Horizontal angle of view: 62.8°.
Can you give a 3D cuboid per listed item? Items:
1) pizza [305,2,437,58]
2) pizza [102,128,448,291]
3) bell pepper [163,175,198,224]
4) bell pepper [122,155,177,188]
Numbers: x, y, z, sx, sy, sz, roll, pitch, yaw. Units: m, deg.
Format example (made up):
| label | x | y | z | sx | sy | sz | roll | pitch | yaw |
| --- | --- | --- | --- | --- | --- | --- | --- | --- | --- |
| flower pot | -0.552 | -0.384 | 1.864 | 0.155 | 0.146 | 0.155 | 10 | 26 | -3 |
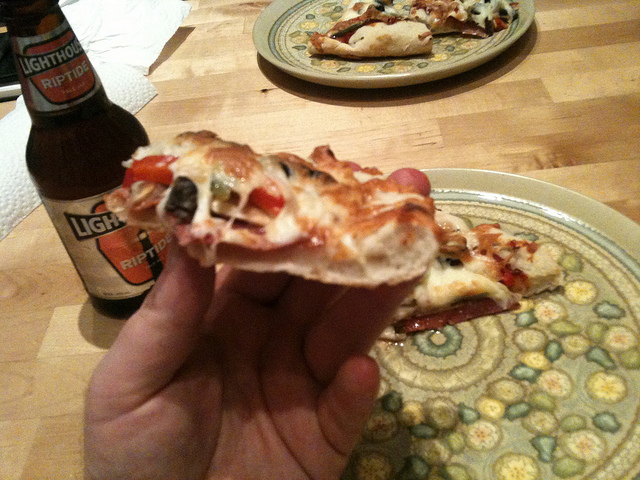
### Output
| label | x | y | z | sx | sy | sz | roll | pitch | yaw |
| --- | --- | --- | --- | --- | --- | --- | --- | --- | --- |
| pizza | 0.126 | -0.569 | 1.465 | 0.260 | 0.072 | 0.209 | -3 | 40 | -3 |
| pizza | -0.085 | -0.039 | 0.725 | 0.485 | 0.187 | 0.249 | 0 | 51 | 5 |
| bell pepper | -0.169 | -0.050 | 0.644 | 0.037 | 0.031 | 0.053 | 12 | 53 | 15 |
| bell pepper | -0.230 | -0.080 | 0.731 | 0.103 | 0.089 | 0.031 | 2 | 82 | 5 |
